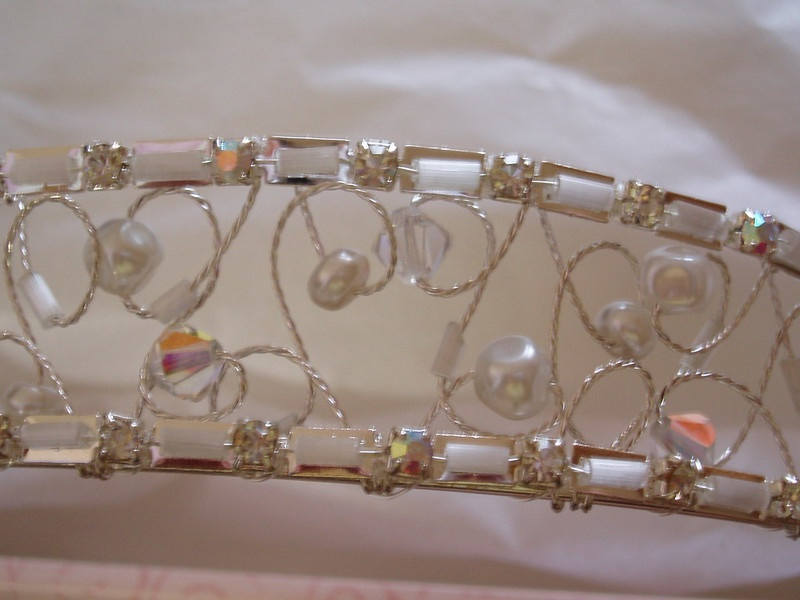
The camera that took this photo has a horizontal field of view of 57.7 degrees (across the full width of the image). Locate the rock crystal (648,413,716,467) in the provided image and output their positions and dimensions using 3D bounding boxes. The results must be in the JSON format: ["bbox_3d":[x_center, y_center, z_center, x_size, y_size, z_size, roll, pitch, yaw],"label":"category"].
[{"bbox_3d":[0.345,0.163,0.874,0.071,0.060,0.033,9,-8,-6],"label":"rock crystal"}]

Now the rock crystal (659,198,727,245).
[{"bbox_3d":[0.336,-0.089,0.824,0.070,0.046,0.022,13,1,-4],"label":"rock crystal"}]

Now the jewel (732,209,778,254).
[{"bbox_3d":[0.406,-0.077,0.839,0.051,0.048,0.031,-16,6,-7],"label":"jewel"}]
